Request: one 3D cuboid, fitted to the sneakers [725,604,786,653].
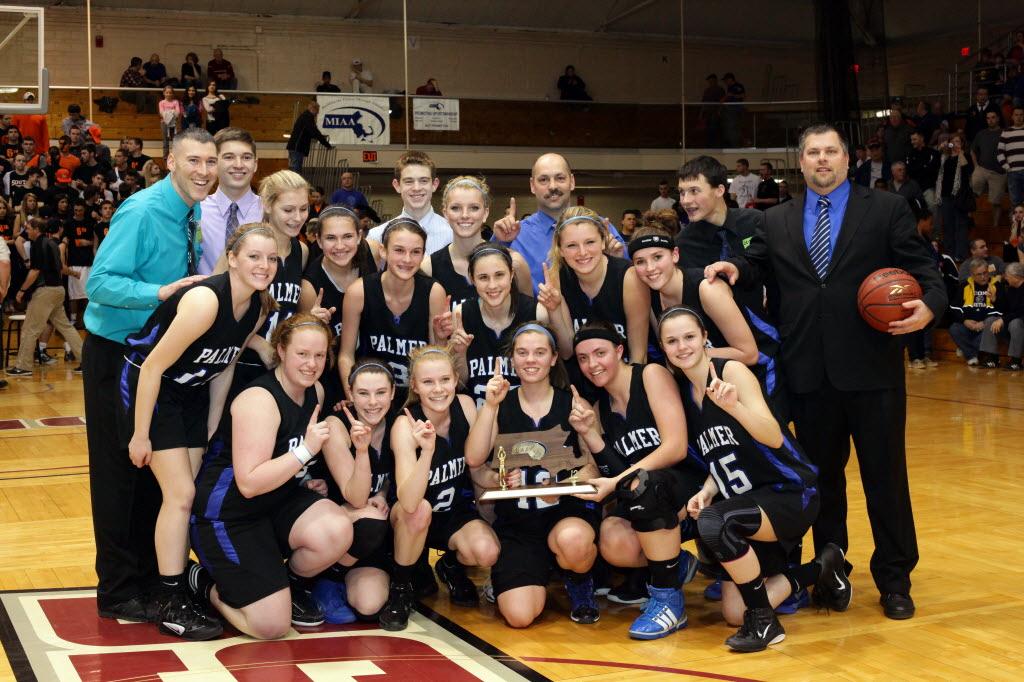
[{"bbox_3d":[1.296,1.545,4.370,0.416,0.195,0.149,-2,0,-35],"label":"sneakers"}]

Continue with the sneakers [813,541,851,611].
[{"bbox_3d":[1.875,1.386,4.778,0.191,0.438,0.174,-8,10,-33],"label":"sneakers"}]

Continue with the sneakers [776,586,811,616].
[{"bbox_3d":[1.670,1.544,4.862,0.226,0.080,0.176,-25,5,-11],"label":"sneakers"}]

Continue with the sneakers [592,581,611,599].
[{"bbox_3d":[0.547,1.538,5.042,0.053,0.059,0.151,1,-4,-10],"label":"sneakers"}]

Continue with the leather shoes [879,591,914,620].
[{"bbox_3d":[2.204,1.498,4.686,0.185,0.133,0.171,1,5,25],"label":"leather shoes"}]

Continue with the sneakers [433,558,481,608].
[{"bbox_3d":[-0.364,1.493,5.115,0.151,0.159,0.368,-3,40,-51],"label":"sneakers"}]

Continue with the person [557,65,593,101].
[{"bbox_3d":[1.777,-7.767,24.376,0.991,1.413,2.260,-1,5,3],"label":"person"}]

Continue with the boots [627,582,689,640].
[{"bbox_3d":[0.822,1.504,4.604,0.419,0.247,0.165,-5,7,-40],"label":"boots"}]
